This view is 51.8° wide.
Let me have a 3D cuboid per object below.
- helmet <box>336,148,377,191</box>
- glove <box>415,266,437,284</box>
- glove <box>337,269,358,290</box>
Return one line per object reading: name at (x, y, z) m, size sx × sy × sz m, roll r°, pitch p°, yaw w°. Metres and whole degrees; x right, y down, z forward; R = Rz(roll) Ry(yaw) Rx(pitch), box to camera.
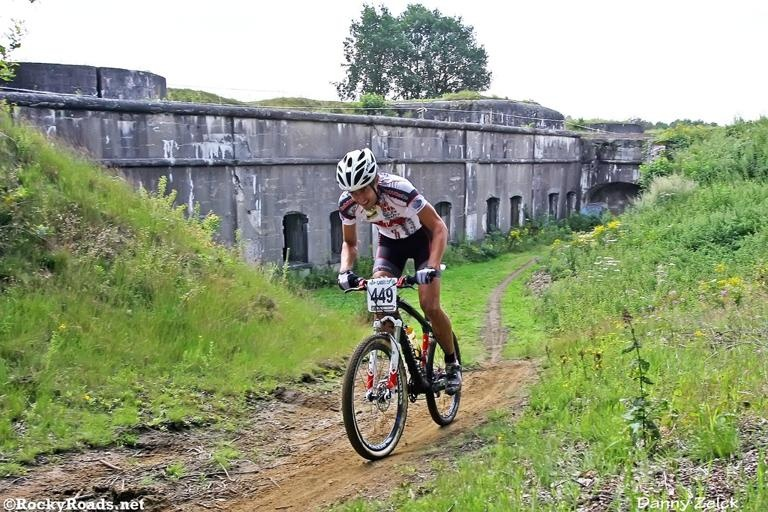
helmet at (-0.324, -1.193, 10.384) m, size 0.414 × 0.294 × 0.597 m, roll -1°, pitch 42°, yaw 22°
glove at (0.594, 0.262, 10.368) m, size 0.347 × 0.217 × 0.166 m, roll -1°, pitch 0°, yaw -42°
glove at (-0.483, 0.330, 10.520) m, size 0.200 × 0.130 × 0.274 m, roll -6°, pitch 13°, yaw -42°
